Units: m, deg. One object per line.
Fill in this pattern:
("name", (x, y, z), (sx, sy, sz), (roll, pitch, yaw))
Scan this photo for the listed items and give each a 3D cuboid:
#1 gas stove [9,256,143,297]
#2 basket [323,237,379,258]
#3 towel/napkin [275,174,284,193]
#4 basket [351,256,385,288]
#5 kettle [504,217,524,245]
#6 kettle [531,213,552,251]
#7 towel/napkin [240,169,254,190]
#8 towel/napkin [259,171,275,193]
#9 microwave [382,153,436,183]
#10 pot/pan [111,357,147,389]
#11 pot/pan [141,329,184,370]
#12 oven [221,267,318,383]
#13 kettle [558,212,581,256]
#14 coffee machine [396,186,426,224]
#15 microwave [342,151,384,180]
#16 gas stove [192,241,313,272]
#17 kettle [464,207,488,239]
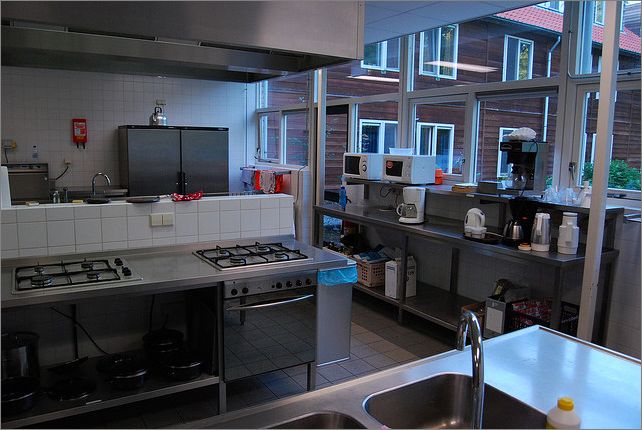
("gas stove", (-1.698, 0.390, 3.133), (0.755, 0.077, 0.619), (-6, 11, -28))
("basket", (0.426, 0.378, 5.743), (0.534, 0.158, 0.792), (-6, 12, -29))
("towel/napkin", (-0.649, -0.482, 6.917), (0.115, 0.268, 0.207), (-1, 11, -2))
("basket", (0.556, 0.659, 5.232), (0.362, 0.197, 0.348), (-6, 12, -32))
("kettle", (1.651, 0.148, 3.876), (0.156, 0.210, 0.132), (5, 12, 28))
("kettle", (1.802, 0.138, 3.737), (0.145, 0.306, 0.171), (-2, 11, -8))
("towel/napkin", (-1.178, -0.576, 7.365), (0.120, 0.326, 0.359), (-2, 9, -40))
("towel/napkin", (-0.819, -0.512, 6.918), (0.081, 0.349, 0.380), (-9, 14, -38))
("microwave", (1.003, -0.501, 5.025), (0.390, 0.287, 0.485), (-2, 6, -28))
("pot/pan", (-1.390, 1.129, 3.246), (0.259, 0.119, 0.322), (-5, 11, -25))
("pot/pan", (-1.222, 1.005, 3.447), (0.258, 0.202, 0.319), (1, 7, -29))
("oven", (-0.498, 0.739, 3.595), (0.695, 0.805, 0.643), (-3, 8, -30))
("kettle", (2.020, 0.144, 3.664), (0.172, 0.323, 0.171), (2, 11, 16))
("coffee machine", (0.918, -0.110, 4.791), (0.415, 0.439, 0.316), (0, 5, -13))
("microwave", (0.503, -0.589, 5.458), (0.351, 0.309, 0.521), (-2, 6, -27))
("gas stove", (-0.576, 0.303, 3.619), (0.756, 0.055, 0.638), (-6, 12, -29))
("kettle", (1.401, 0.065, 4.108), (0.270, 0.329, 0.256), (2, 7, 28))
